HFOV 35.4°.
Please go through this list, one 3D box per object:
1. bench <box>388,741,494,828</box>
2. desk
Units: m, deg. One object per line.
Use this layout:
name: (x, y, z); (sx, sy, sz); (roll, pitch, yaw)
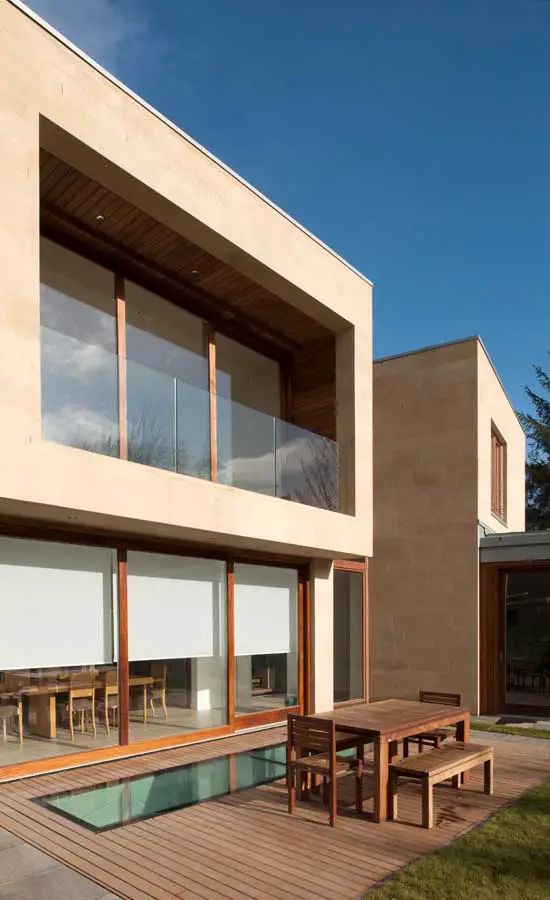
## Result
bench: (1.401, 2.838, 7.372); (0.455, 0.456, 1.336); (-3, -7, 36)
desk: (0.897, 2.474, 7.674); (0.740, 0.751, 1.326); (-4, -7, 35)
